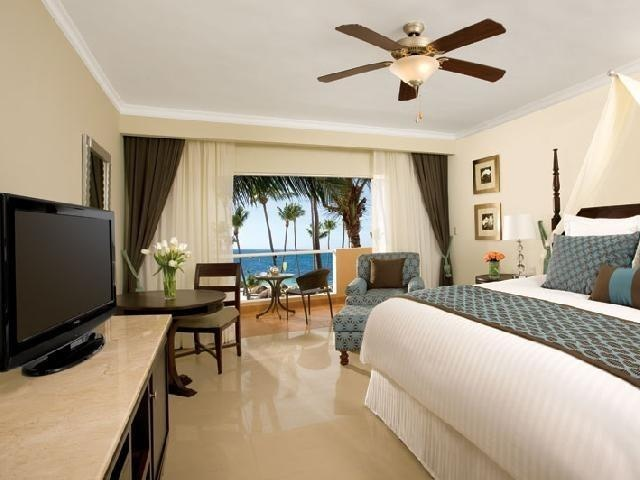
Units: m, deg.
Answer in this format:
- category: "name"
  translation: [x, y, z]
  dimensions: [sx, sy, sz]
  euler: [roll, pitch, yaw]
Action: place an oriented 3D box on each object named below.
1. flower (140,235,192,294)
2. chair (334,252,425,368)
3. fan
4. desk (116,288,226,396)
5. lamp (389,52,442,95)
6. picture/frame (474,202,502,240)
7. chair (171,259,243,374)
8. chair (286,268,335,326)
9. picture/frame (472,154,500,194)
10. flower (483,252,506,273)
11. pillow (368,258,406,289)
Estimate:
- category: "flower"
  translation: [-1.399, 0.281, 3.829]
  dimensions: [0.396, 0.502, 0.436]
  euler: [-6, 10, -34]
- category: "chair"
  translation: [0.717, 0.708, 4.715]
  dimensions: [0.845, 1.093, 1.216]
  euler: [-3, 4, 17]
- category: "fan"
  translation: [0.766, -1.426, 3.182]
  dimensions: [1.402, 0.509, 1.059]
  euler: [0, 6, 1]
- category: "desk"
  translation: [-1.267, 0.947, 3.540]
  dimensions: [0.684, 0.644, 0.741]
  euler: [-8, -17, 1]
- category: "lamp"
  translation: [0.764, -1.260, 3.220]
  dimensions: [0.381, 0.148, 0.375]
  euler: [8, -5, -41]
- category: "picture/frame"
  translation: [2.358, -0.255, 5.735]
  dimensions: [0.023, 0.638, 0.519]
  euler: [2, -2, -25]
- category: "chair"
  translation: [-1.130, 0.752, 4.255]
  dimensions: [0.577, 0.990, 0.722]
  euler: [1, 2, 19]
- category: "chair"
  translation: [-0.131, 0.763, 5.823]
  dimensions: [0.544, 0.779, 0.525]
  euler: [5, 9, 44]
- category: "picture/frame"
  translation: [2.334, -0.906, 5.732]
  dimensions: [0.031, 0.680, 0.570]
  euler: [2, -3, -25]
- category: "flower"
  translation: [2.168, 0.276, 5.192]
  dimensions: [0.292, 0.319, 0.290]
  euler: [0, -4, 3]
- category: "pillow"
  translation: [0.827, 0.424, 5.046]
  dimensions: [0.317, 0.314, 0.120]
  euler: [0, -22, 6]
